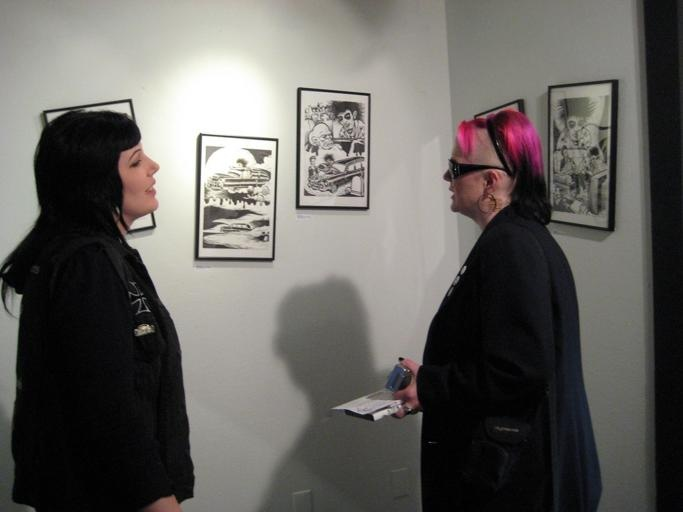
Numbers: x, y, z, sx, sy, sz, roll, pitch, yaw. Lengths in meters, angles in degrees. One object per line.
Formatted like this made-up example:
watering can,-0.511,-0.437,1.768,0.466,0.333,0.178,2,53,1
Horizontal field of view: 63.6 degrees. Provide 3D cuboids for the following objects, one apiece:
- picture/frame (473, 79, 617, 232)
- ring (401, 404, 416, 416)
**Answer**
picture/frame,0.999,-0.458,2.634,0.033,0.626,0.832,-1,2,-24
ring,0.289,0.681,2.429,0.071,0.039,0.105,1,-3,4
